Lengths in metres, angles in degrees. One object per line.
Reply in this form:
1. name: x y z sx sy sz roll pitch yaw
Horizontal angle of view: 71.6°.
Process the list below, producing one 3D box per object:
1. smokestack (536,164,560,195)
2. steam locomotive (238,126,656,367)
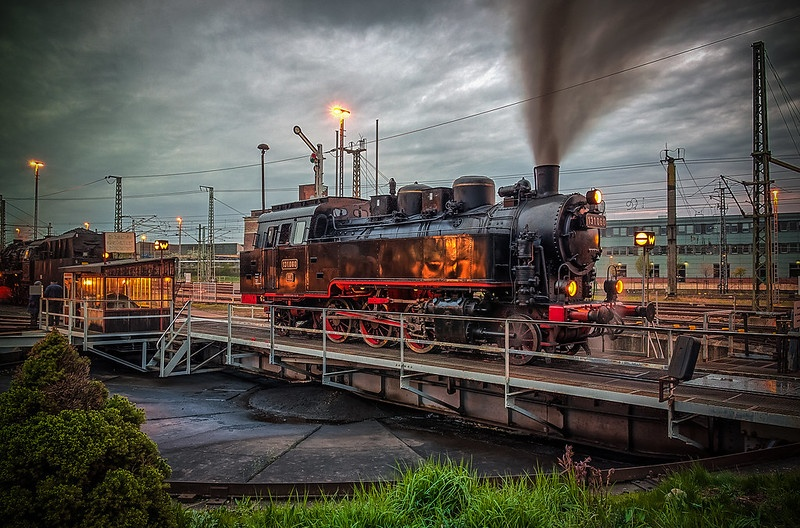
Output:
1. smokestack: 3.779 -2.175 14.357 0.562 0.805 0.357 -4 3 8
2. steam locomotive: -0.552 -0.163 19.194 5.274 6.114 15.836 0 -1 -44
